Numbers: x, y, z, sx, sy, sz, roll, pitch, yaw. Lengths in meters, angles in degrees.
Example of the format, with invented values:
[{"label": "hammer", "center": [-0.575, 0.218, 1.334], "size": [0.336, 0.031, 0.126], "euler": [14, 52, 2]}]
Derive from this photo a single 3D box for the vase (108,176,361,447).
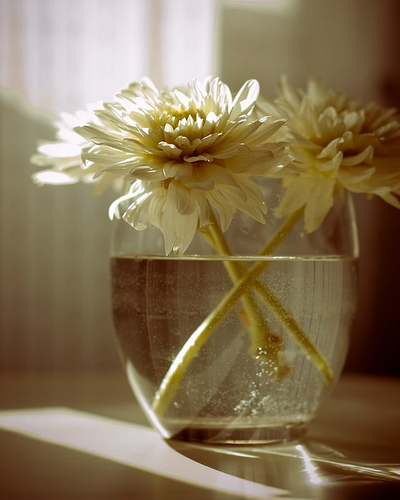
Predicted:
[{"label": "vase", "center": [0.032, 0.046, 0.455], "size": [0.214, 0.211, 0.192], "euler": [1, 0, -9]}]
